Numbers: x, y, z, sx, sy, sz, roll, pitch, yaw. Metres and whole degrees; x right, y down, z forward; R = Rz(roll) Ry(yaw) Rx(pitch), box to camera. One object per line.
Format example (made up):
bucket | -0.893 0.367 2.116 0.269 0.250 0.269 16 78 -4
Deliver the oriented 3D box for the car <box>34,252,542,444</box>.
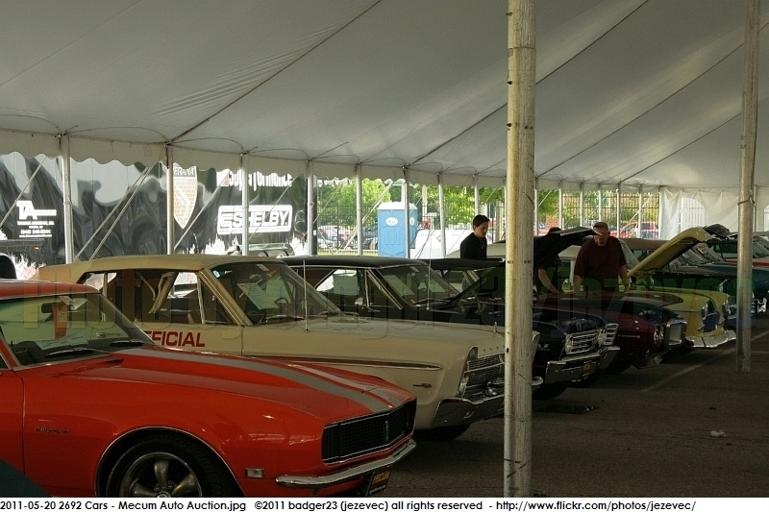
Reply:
car | -1.192 0.578 9.445 5.521 1.448 2.269 2 3 19

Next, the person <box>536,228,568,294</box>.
person | 2.537 0.151 12.628 0.470 1.388 0.340 -6 42 13

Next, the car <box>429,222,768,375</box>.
car | 3.255 0.909 14.149 4.491 1.387 2.763 3 5 30

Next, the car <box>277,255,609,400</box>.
car | 0.734 0.602 11.278 3.757 1.033 2.218 3 4 28
